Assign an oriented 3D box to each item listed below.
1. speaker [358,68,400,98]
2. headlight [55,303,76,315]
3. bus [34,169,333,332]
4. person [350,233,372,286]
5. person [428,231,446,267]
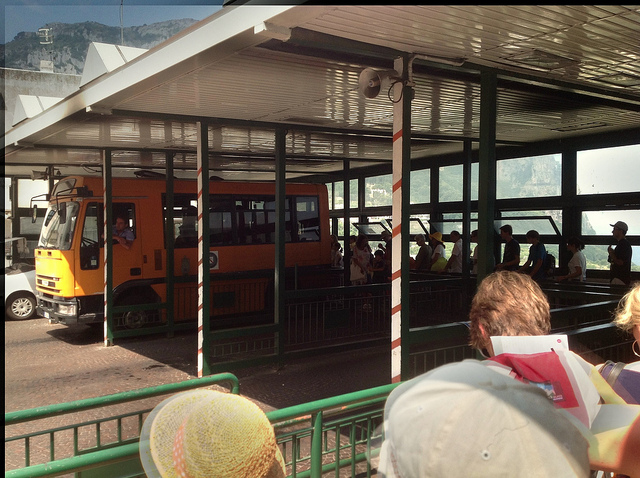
[{"bbox_3d":[0.713,-1.951,5.975,0.459,0.362,0.336,-3,3,-40],"label":"speaker"},{"bbox_3d":[-6.130,1.686,11.362,0.379,0.265,0.169,2,-8,25],"label":"headlight"},{"bbox_3d":[-3.886,0.303,14.921,3.770,4.325,8.821,3,3,44],"label":"bus"},{"bbox_3d":[1.224,0.795,13.856,0.692,1.913,0.665,2,17,24],"label":"person"},{"bbox_3d":[3.367,0.314,13.572,0.528,0.976,0.589,8,-27,23],"label":"person"}]
